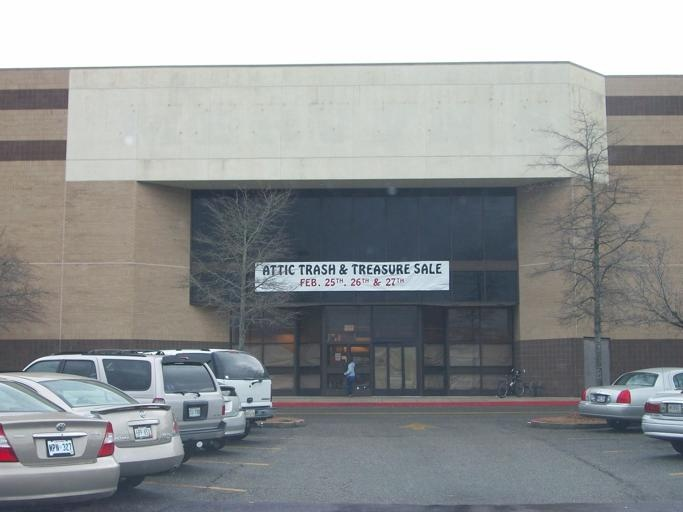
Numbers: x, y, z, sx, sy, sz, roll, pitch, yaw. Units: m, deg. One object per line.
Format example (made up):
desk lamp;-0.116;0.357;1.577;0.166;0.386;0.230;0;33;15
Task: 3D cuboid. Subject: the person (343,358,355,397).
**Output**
person;0.446;5.505;70.356;0.542;1.854;1.547;-1;-7;-1

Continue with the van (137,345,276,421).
van;-4.726;4.502;54.353;4.022;1.863;2.240;-1;-6;24

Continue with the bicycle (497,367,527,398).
bicycle;7.989;5.845;69.859;0.841;1.046;1.656;11;-18;-42
